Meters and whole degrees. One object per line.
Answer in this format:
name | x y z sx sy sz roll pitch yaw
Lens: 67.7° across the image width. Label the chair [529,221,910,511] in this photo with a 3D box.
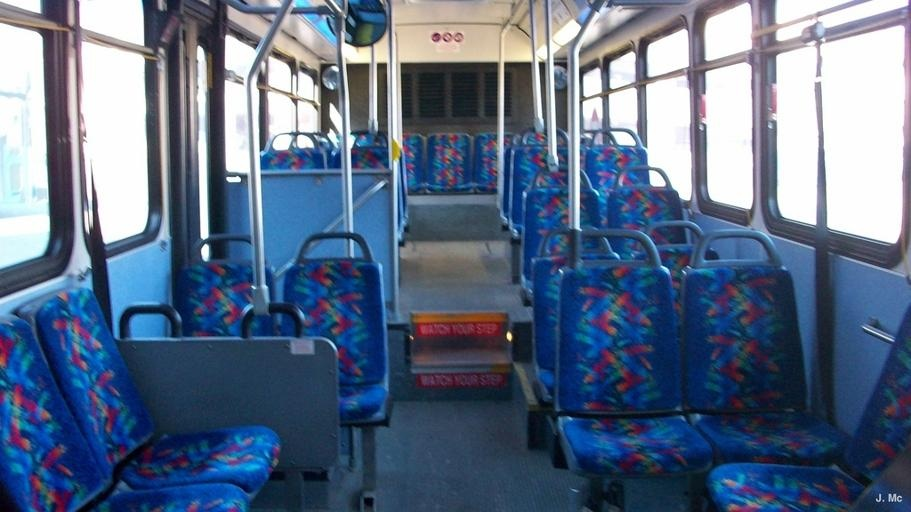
chair | 1.394 0.606 4.370 1.645 1.560 1.176 -1 9 -1
